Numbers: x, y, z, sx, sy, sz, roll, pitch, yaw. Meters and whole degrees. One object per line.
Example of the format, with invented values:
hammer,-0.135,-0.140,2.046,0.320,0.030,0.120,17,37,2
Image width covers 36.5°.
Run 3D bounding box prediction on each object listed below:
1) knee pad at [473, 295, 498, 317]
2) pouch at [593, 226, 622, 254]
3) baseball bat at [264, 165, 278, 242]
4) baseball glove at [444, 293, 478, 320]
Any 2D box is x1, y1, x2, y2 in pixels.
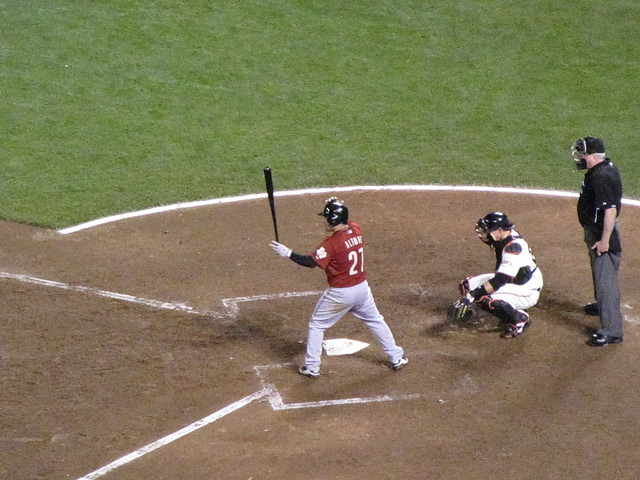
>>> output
knee pad,2.352,0.908,13.867,0.174,0.346,0.250,-54,8,4
pouch,4.008,-0.022,13.587,0.341,0.348,0.320,-7,35,2
baseball bat,-0.687,-0.572,13.503,0.117,0.853,0.109,-11,8,-11
baseball glove,2.044,0.973,14.046,0.315,0.332,0.097,-43,53,-3
